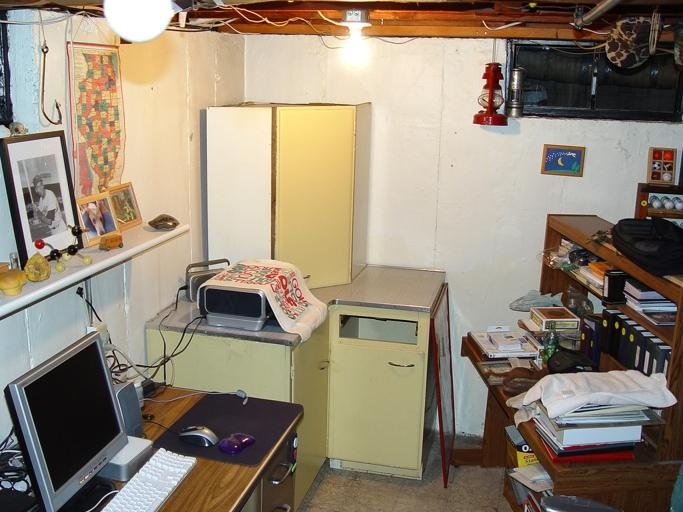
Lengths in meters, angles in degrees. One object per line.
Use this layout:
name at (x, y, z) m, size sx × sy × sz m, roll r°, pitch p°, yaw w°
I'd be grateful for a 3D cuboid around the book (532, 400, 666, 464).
book at (1.164, 0.800, 2.472) m, size 0.321 × 0.098 × 0.301 m, roll -2°, pitch 10°, yaw -2°

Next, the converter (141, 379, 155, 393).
converter at (-0.969, 0.639, 2.662) m, size 0.052 × 0.054 × 0.057 m, roll -3°, pitch 11°, yaw -15°

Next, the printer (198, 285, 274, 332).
printer at (-0.634, 0.298, 3.081) m, size 0.311 × 0.201 × 0.308 m, roll 4°, pitch 9°, yaw 9°

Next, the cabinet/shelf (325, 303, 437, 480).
cabinet/shelf at (0.312, 0.881, 3.835) m, size 0.717 × 1.229 × 0.574 m, roll 3°, pitch 16°, yaw 13°

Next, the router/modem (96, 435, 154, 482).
router/modem at (-0.844, 0.776, 2.073) m, size 0.132 × 0.033 × 0.144 m, roll 4°, pitch 16°, yaw 11°

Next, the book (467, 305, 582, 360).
book at (1.198, 0.498, 3.447) m, size 0.470 × 0.146 × 0.345 m, roll -1°, pitch 17°, yaw 0°

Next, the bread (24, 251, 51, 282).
bread at (-1.159, 0.039, 2.020) m, size 0.084 × 0.106 × 0.048 m, roll -3°, pitch -4°, yaw -31°

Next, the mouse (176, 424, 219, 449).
mouse at (-0.608, 0.759, 2.286) m, size 0.140 × 0.050 × 0.081 m, roll 13°, pitch 7°, yaw 5°

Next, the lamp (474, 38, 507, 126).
lamp at (1.071, -1.222, 3.759) m, size 0.234 × 0.588 × 0.276 m, roll 4°, pitch 16°, yaw 16°

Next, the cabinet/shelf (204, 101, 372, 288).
cabinet/shelf at (-0.338, -0.567, 4.273) m, size 1.218 × 1.696 × 1.204 m, roll 6°, pitch 15°, yaw 24°
